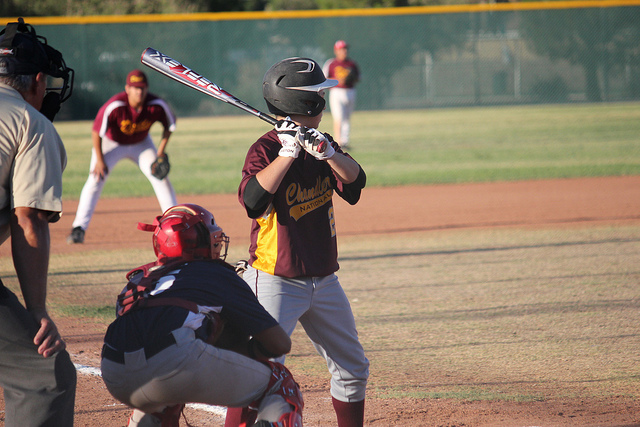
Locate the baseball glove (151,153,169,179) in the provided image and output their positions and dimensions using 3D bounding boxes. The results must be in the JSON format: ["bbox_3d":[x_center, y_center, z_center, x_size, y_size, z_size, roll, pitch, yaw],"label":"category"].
[{"bbox_3d":[-1.943,-0.599,17.247,0.212,0.284,0.303,-2,9,-6],"label":"baseball glove"}]
